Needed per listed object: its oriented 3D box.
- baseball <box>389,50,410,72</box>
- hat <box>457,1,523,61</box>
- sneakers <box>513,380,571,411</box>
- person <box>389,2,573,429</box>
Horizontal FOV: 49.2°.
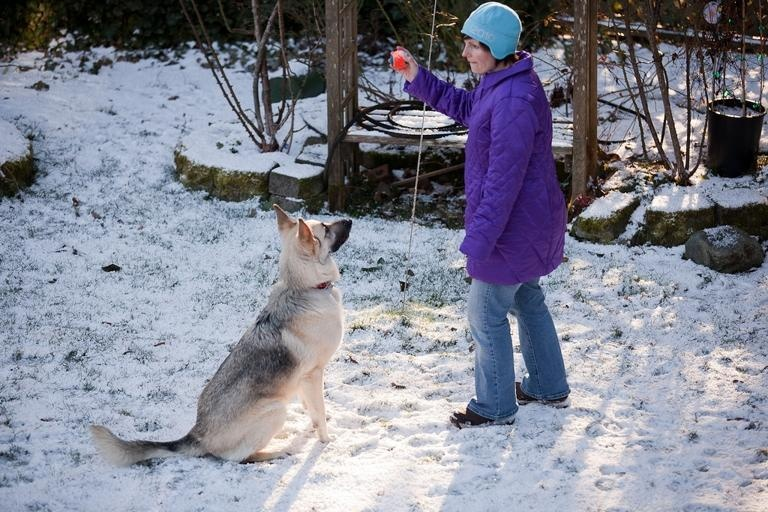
[{"bbox_3d":[0.161,-2.075,8.806,0.172,0.211,0.256,-12,55,-6],"label":"baseball"},{"bbox_3d":[1.005,-2.148,8.060,0.531,0.445,0.461,-12,42,-11],"label":"hat"},{"bbox_3d":[1.617,1.471,8.749,0.610,0.298,0.235,16,33,34],"label":"sneakers"},{"bbox_3d":[1.196,-0.358,8.342,1.324,4.162,0.971,1,12,13],"label":"person"}]
